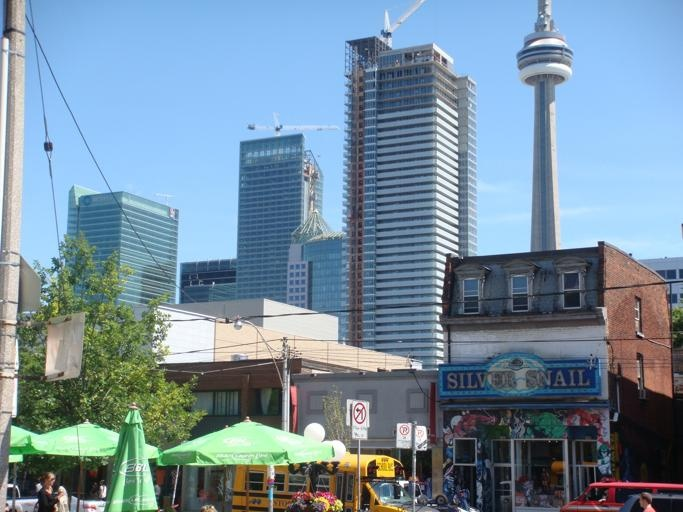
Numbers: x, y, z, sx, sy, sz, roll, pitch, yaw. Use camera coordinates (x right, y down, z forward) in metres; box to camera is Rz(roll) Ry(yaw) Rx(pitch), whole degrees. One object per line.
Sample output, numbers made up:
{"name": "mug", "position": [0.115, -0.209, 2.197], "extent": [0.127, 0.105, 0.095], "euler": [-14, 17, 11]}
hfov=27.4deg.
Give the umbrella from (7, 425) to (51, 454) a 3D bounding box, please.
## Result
{"name": "umbrella", "position": [-11.280, 6.566, 50.431], "extent": [1.168, 0.946, 1.006], "euler": [2, -14, -15]}
